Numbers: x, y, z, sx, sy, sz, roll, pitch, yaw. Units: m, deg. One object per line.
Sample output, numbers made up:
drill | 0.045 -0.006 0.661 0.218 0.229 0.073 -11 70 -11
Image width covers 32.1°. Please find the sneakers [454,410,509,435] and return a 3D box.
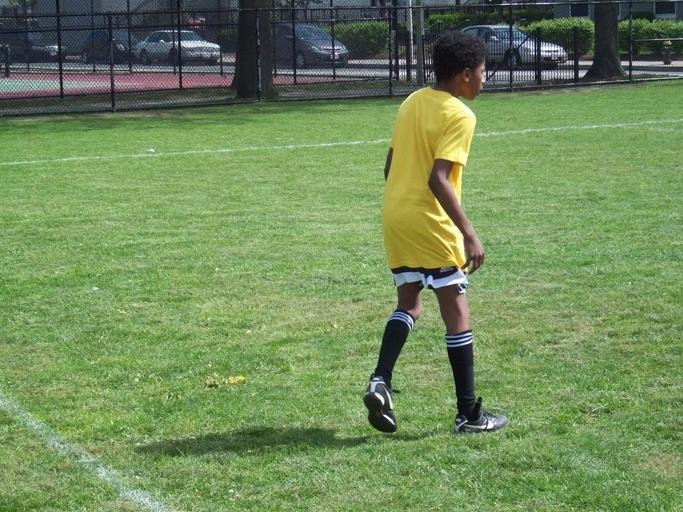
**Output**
sneakers | 1.130 1.294 9.471 0.420 0.189 0.169 -4 7 -14

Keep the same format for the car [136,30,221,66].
car | -4.134 -5.208 30.065 2.122 0.793 1.096 1 15 7

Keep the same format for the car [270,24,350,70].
car | -0.786 -5.325 30.419 1.038 0.798 1.777 -8 12 -36

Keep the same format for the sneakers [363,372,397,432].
sneakers | 0.317 1.110 9.210 0.184 0.473 0.217 -5 39 26

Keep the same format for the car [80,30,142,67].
car | -5.896 -5.319 30.279 1.421 0.822 3.320 -3 11 -13

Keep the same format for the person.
person | 0.726 -0.171 9.275 1.017 3.054 0.665 -1 10 0
